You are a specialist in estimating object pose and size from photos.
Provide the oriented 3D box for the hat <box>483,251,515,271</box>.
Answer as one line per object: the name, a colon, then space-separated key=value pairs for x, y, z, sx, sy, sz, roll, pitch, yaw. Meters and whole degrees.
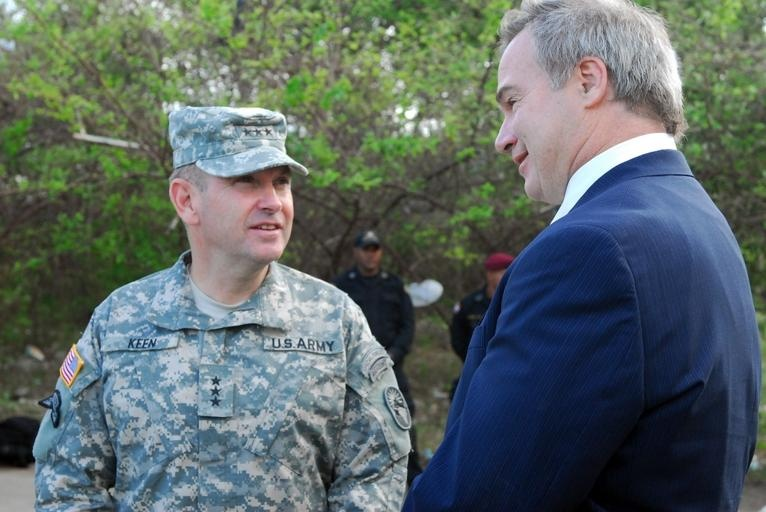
hat: x=0.955 y=0.039 z=9.754 sx=0.177 sy=0.086 sz=0.246 roll=-13 pitch=7 yaw=-39
